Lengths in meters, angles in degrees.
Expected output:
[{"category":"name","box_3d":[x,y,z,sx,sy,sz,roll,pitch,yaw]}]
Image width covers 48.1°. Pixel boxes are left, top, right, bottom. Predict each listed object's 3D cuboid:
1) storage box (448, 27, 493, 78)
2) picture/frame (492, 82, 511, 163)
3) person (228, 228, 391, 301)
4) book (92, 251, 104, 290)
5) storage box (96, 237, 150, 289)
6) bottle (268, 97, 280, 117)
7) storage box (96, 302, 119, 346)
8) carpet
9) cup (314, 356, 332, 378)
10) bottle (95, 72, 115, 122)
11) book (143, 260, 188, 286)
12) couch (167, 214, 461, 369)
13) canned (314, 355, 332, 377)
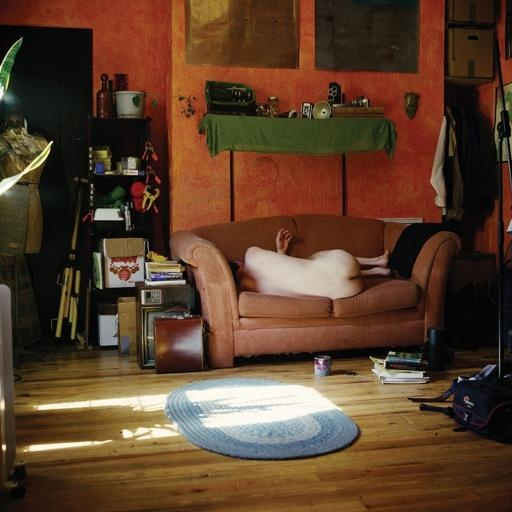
[{"category":"storage box","box_3d":[1.851,-1.774,5.040,0.401,0.376,0.211,-2,12,-9]},{"category":"picture/frame","box_3d":[2.102,-1.145,4.849,0.153,0.672,0.665,2,4,20]},{"category":"person","box_3d":[0.346,0.019,3.785,0.912,0.350,0.500,-1,6,7]},{"category":"book","box_3d":[-1.153,0.094,4.161,0.038,0.279,0.257,-2,6,-23]},{"category":"storage box","box_3d":[-0.970,0.088,4.280,0.293,0.377,0.306,-1,-18,-12]},{"category":"bottle","box_3d":[0.126,-1.144,4.345,0.079,0.180,0.192,0,4,1]},{"category":"storage box","box_3d":[-1.075,0.499,4.136,0.136,0.305,0.295,-1,4,-15]},{"category":"carpet","box_3d":[-0.001,0.730,2.680,0.805,0.018,1.033,-1,5,-19]},{"category":"cup","box_3d":[0.381,0.647,3.356,0.098,0.104,0.110,1,0,-1]},{"category":"bottle","box_3d":[-1.143,-1.191,4.309,0.117,0.333,0.261,-1,4,-15]},{"category":"book","box_3d":[-0.587,0.106,3.667,0.252,0.143,0.160,0,4,-2]},{"category":"couch","box_3d":[0.388,0.174,3.957,1.825,0.852,0.822,-2,11,-15]},{"category":"canned","box_3d":[0.389,0.644,3.360,0.098,0.102,0.110,1,0,2]}]
